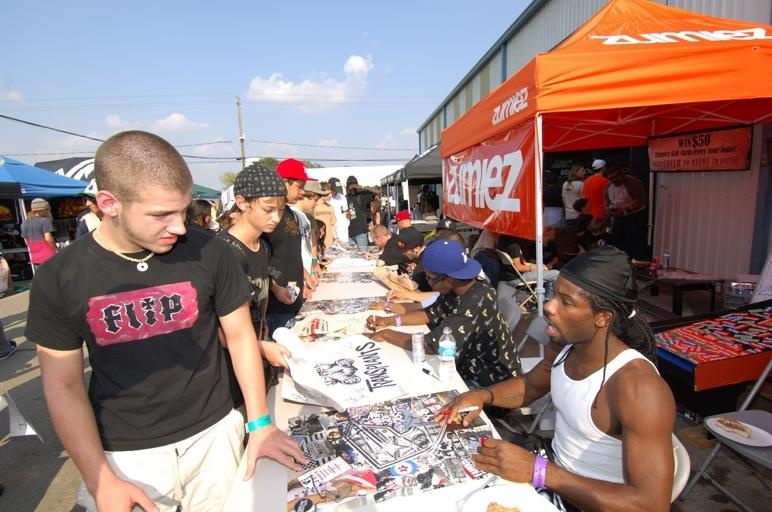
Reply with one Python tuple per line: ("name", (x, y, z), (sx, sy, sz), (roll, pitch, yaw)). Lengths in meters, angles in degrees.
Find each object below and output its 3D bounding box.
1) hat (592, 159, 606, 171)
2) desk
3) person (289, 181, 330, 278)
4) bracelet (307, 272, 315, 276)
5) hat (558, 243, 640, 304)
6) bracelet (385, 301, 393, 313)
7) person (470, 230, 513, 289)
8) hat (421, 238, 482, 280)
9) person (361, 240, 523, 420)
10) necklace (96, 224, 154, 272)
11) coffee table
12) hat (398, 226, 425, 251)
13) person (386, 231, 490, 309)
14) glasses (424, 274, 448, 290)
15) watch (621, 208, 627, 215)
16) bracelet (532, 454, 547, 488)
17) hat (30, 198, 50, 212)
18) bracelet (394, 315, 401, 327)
("hat", (3.983, -1.713, 8.827), (0.227, 0.172, 0.320), (4, 39, 41))
("desk", (0.117, 0.497, 3.823), (2.076, 2.418, 1.104), (3, 14, 0))
("person", (-1.055, -0.358, 6.647), (0.582, 0.569, 1.779), (-1, -11, -17))
("bracelet", (-0.919, 0.223, 6.037), (0.055, 0.038, 0.054), (0, 4, 1))
("hat", (1.297, 0.111, 2.922), (0.386, 0.207, 0.399), (4, 21, -5))
("bracelet", (0.032, 0.483, 4.561), (0.021, 0.072, 0.076), (18, -29, -9))
("person", (1.591, -0.003, 7.132), (0.783, 1.240, 0.764), (1, 3, 14))
("hat", (0.554, -0.017, 3.909), (0.536, 0.194, 0.363), (15, 34, 22))
("person", (0.515, 0.716, 4.050), (1.243, 1.617, 0.854), (-6, 12, -11))
("necklace", (-1.541, -0.048, 2.779), (0.336, 0.288, 0.091), (-2, 10, 6))
("coffee table", (4.052, 0.356, 6.346), (0.870, 0.514, 1.063), (0, 14, 3))
("hat", (0.311, -0.243, 6.087), (0.249, 0.199, 0.348), (-34, 35, -12))
("person", (0.392, 0.072, 4.038), (0.847, 0.450, 0.618), (-6, 14, 18))
("glasses", (0.429, 0.207, 3.939), (0.156, 0.044, 0.148), (28, 1, -6))
("watch", (3.874, -0.727, 7.672), (0.074, 0.069, 0.073), (-37, 19, -27))
("bracelet", (0.888, 1.249, 2.740), (0.078, 0.149, 0.147), (5, -23, 7))
("hat", (-7.645, -1.106, 10.506), (0.333, 0.194, 0.444), (-10, 18, -25))
("bracelet", (0.100, 0.567, 4.170), (0.050, 0.079, 0.077), (7, 28, -9))
